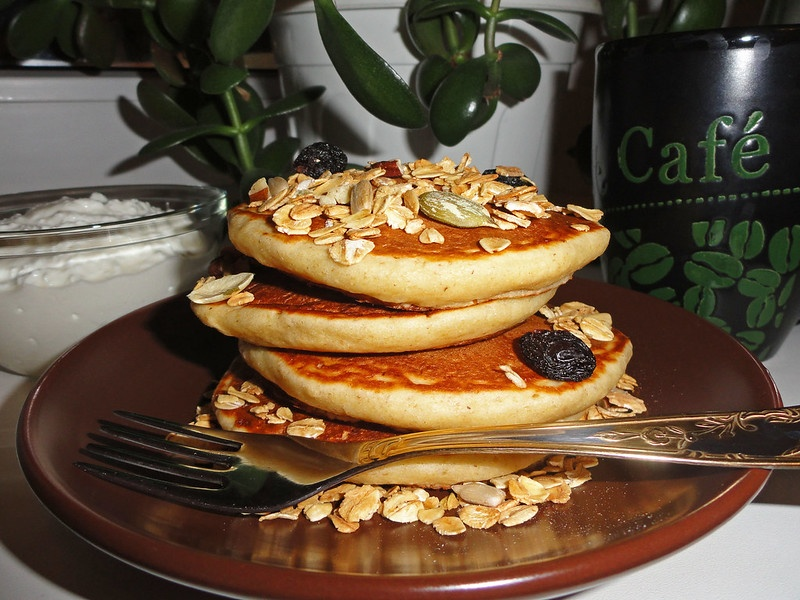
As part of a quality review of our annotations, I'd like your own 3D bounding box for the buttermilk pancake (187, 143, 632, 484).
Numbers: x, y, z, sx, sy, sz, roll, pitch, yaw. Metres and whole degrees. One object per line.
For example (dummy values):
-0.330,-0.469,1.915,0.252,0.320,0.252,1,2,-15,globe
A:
0.027,0.045,1.278,0.799,0.200,0.586,10,39,8,buttermilk pancake
